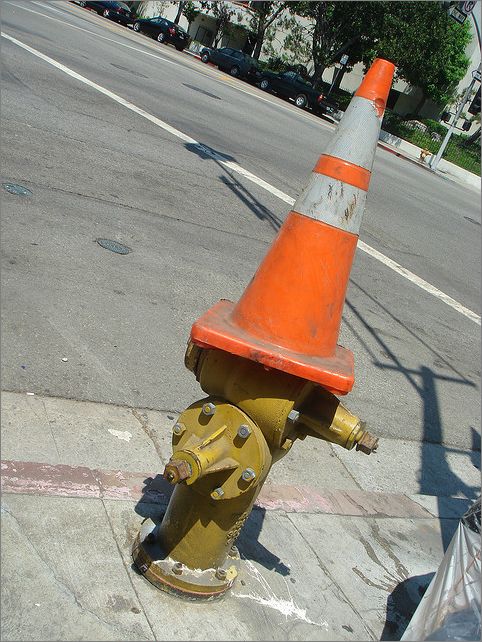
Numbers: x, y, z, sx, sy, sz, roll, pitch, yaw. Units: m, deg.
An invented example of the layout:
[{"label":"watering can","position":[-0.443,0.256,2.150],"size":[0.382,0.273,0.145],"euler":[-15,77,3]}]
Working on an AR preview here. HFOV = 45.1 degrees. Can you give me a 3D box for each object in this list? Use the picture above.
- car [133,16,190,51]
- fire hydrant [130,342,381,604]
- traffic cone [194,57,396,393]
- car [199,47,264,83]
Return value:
[{"label":"car","position":[-4.931,-18.041,35.818],"size":[3.533,1.156,1.671],"euler":[42,47,21]},{"label":"fire hydrant","position":[0.066,0.735,2.591],"size":[0.905,0.880,0.699],"euler":[29,20,2]},{"label":"traffic cone","position":[0.348,-0.397,2.078],"size":[0.585,1.125,0.703],"euler":[23,18,1]},{"label":"car","position":[0.568,-15.564,35.082],"size":[4.384,2.303,3.411],"euler":[22,27,32]}]
